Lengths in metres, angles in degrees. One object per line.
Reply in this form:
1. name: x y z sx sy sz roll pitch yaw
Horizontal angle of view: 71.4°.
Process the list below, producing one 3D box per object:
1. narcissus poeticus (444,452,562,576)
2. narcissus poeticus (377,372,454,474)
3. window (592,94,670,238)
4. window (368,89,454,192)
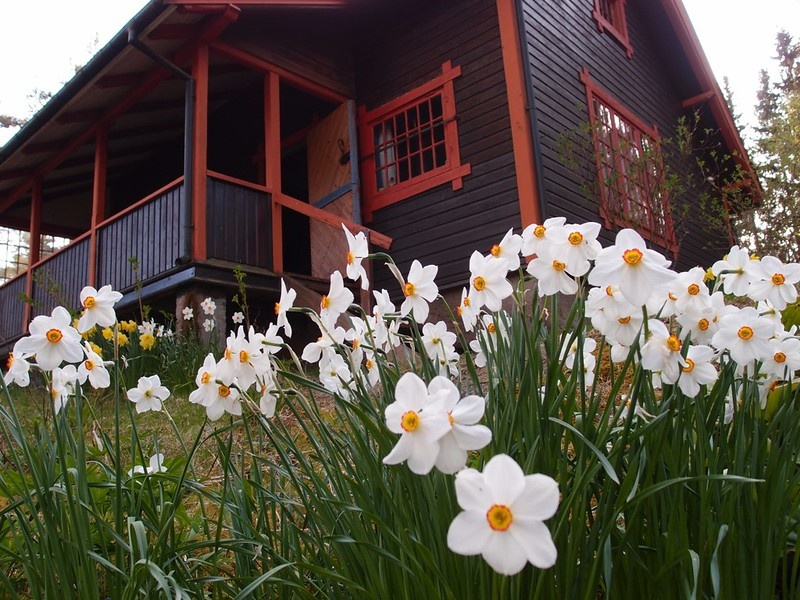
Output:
1. narcissus poeticus: 0.146 0.303 0.786 0.154 0.167 0.059 -3 -13 4
2. narcissus poeticus: 0.025 0.206 0.943 0.105 0.164 0.141 -1 -13 -2
3. window: 3.561 -2.060 8.595 0.112 2.747 2.551 -18 -25 35
4. window: 0.195 -2.393 8.324 1.208 1.347 0.055 -33 -41 30
